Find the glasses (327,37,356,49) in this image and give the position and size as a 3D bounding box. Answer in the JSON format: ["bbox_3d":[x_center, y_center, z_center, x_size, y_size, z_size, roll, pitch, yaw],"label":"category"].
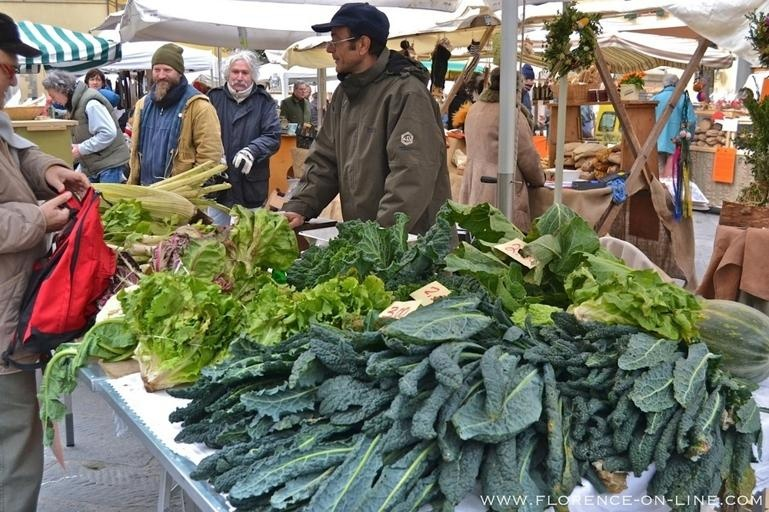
[{"bbox_3d":[-0.326,-1.623,3.789,0.133,0.040,0.130,-12,16,2],"label":"glasses"}]

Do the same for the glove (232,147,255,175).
[{"bbox_3d":[-1.573,-1.098,5.732,0.215,0.108,0.294,4,48,10],"label":"glove"}]

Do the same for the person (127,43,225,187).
[{"bbox_3d":[-2.465,-1.451,5.857,1.292,1.956,0.578,9,7,24],"label":"person"}]

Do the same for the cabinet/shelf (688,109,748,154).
[{"bbox_3d":[7.286,-2.826,10.985,0.787,0.921,2.094,4,10,16],"label":"cabinet/shelf"}]

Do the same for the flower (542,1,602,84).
[{"bbox_3d":[1.808,-2.098,5.055,0.559,0.732,0.367,21,18,9],"label":"flower"}]

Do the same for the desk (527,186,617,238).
[{"bbox_3d":[2.090,-0.690,5.929,0.945,0.657,0.932,-9,16,-38],"label":"desk"}]

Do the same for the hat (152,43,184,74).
[{"bbox_3d":[-2.409,-2.248,5.769,0.328,0.303,0.352,8,15,14],"label":"hat"}]

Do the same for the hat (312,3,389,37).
[{"bbox_3d":[-0.219,-1.782,3.798,0.469,0.200,0.299,1,21,-8],"label":"hat"}]
